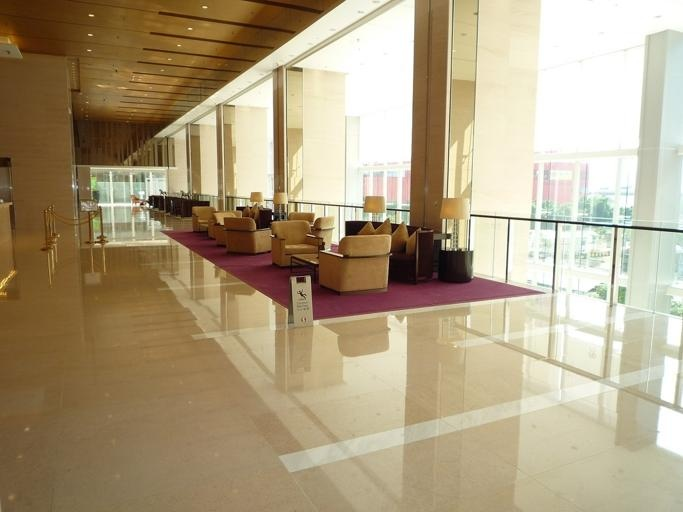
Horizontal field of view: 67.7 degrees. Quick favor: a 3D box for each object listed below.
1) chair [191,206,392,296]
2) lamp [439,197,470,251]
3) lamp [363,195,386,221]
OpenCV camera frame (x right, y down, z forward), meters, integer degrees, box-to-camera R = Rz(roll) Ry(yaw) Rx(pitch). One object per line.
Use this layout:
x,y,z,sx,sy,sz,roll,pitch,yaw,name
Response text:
-0.267,-0.099,8.871,0.972,1.028,2.838,-4,7,-26,chair
1.905,-0.564,8.504,0.456,0.845,0.486,7,12,41,lamp
0.669,-0.982,10.128,0.611,0.672,0.634,-1,6,6,lamp
